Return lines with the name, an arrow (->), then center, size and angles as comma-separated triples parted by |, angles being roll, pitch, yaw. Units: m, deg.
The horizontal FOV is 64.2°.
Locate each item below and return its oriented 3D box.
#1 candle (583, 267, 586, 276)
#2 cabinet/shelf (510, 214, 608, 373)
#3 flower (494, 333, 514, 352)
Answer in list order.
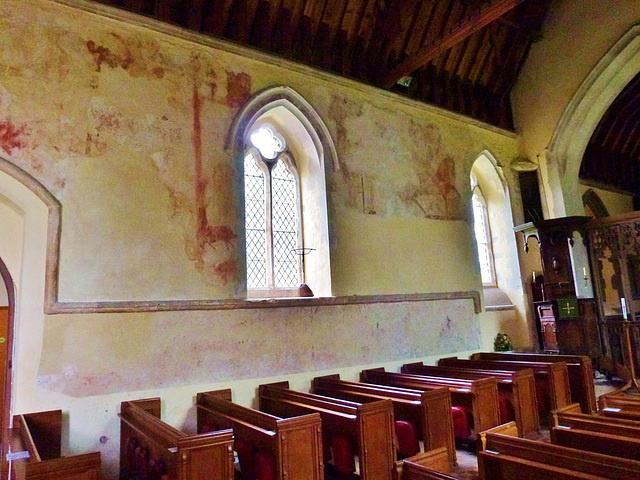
candle -> 5.364, 0.659, 10.293 | 0.040, 0.156, 0.241 | -9, -9, 33
cabinet/shelf -> 4.782, 1.104, 10.150 | 1.188, 3.641, 1.784 | 22, -30, -29
flower -> 3.798, 2.147, 10.556 | 0.384, 0.475, 0.396 | -7, -11, 6
